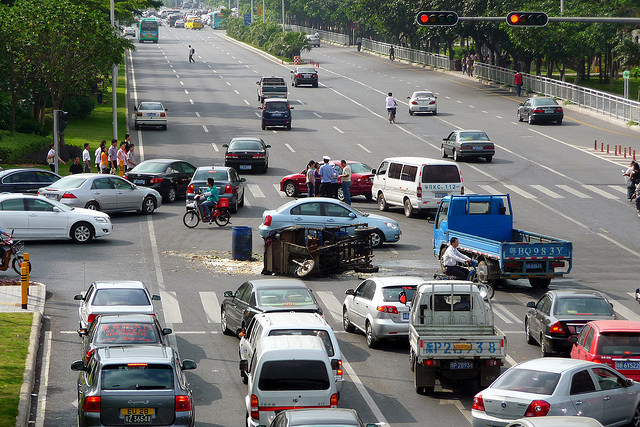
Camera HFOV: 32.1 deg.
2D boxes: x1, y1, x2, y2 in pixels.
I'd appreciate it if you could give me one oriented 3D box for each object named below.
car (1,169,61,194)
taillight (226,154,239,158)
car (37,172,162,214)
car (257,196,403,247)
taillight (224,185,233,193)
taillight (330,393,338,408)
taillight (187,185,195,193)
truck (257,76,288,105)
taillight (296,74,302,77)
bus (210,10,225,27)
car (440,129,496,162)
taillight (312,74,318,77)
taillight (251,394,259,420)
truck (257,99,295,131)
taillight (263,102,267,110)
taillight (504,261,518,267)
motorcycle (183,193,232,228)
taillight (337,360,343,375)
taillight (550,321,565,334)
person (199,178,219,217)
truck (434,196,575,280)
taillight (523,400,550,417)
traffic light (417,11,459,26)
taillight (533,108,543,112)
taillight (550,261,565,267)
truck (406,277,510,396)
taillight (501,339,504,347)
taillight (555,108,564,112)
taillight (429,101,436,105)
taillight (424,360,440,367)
[{"bbox_3d":[-13.780,-1.499,52.015,2.194,0.690,1.011,-4,9,-32],"label":"car"},{"bbox_3d":[-4.821,-3.117,60.788,0.684,0.191,0.165,0,13,-4],"label":"taillight"},{"bbox_3d":[-10.356,-0.898,51.321,4.713,1.488,2.141,-4,9,-41],"label":"car"},{"bbox_3d":[0.440,0.212,48.347,5.436,1.754,2.415,-1,5,-2],"label":"car"},{"bbox_3d":[-4.348,-1.138,52.405,0.384,0.340,0.327,0,13,-5],"label":"taillight"},{"bbox_3d":[0.379,5.465,32.600,0.199,0.414,0.383,3,13,5],"label":"taillight"},{"bbox_3d":[-6.121,-1.141,52.350,0.325,0.262,0.550,0,12,-7],"label":"taillight"},{"bbox_3d":[-3.716,-9.480,85.487,1.629,1.330,3.105,-1,15,-7],"label":"truck"},{"bbox_3d":[-1.882,-11.903,96.673,0.409,0.180,0.247,2,5,0],"label":"taillight"},{"bbox_3d":[-18.065,-34.108,195.523,1.785,1.971,4.463,-2,21,-7],"label":"bus"},{"bbox_3d":[8.375,-3.914,64.786,1.688,1.049,2.727,-3,18,-11],"label":"car"},{"bbox_3d":[-0.504,-11.930,96.861,0.327,0.228,0.504,0,2,-8],"label":"taillight"},{"bbox_3d":[-1.916,5.652,32.558,0.314,0.670,0.180,6,14,21],"label":"taillight"},{"bbox_3d":[-3.166,-6.819,75.749,2.387,1.924,4.259,1,11,-2],"label":"truck"},{"bbox_3d":[-3.676,-7.091,73.757,0.109,0.374,0.236,7,-1,-23],"label":"taillight"},{"bbox_3d":[7.245,1.911,42.113,0.508,0.224,0.063,-2,13,-12],"label":"taillight"},{"bbox_3d":[-5.244,-0.135,50.898,2.288,1.440,1.036,-3,0,-24],"label":"motorcycle"},{"bbox_3d":[0.580,4.691,34.105,0.225,0.193,0.380,1,36,-1],"label":"taillight"},{"bbox_3d":[7.933,3.800,37.058,0.491,0.213,0.292,0,5,-1],"label":"taillight"},{"bbox_3d":[-5.056,-0.790,50.851,0.824,1.823,1.220,5,13,16],"label":"person"},{"bbox_3d":[7.103,1.061,44.220,2.885,2.590,5.551,-4,14,-25],"label":"truck"},{"bbox_3d":[6.327,5.629,32.249,0.629,0.276,0.375,-2,12,2],"label":"taillight"},{"bbox_3d":[4.901,-8.067,46.292,1.701,0.559,0.843,3,13,7],"label":"traffic light"},{"bbox_3d":[15.019,-7.051,76.356,0.594,0.261,0.137,4,13,13],"label":"taillight"},{"bbox_3d":[9.083,1.942,42.323,0.318,0.286,0.493,14,18,43],"label":"taillight"},{"bbox_3d":[4.378,3.785,36.185,2.961,2.751,5.255,0,5,4],"label":"truck"},{"bbox_3d":[5.778,4.081,35.136,0.088,0.243,0.030,1,13,-1],"label":"taillight"},{"bbox_3d":[16.509,-7.050,76.615,0.413,0.177,0.246,1,36,-3],"label":"taillight"},{"bbox_3d":[8.212,-8.034,81.148,0.131,0.218,0.572,13,18,43],"label":"taillight"},{"bbox_3d":[3.519,4.684,35.002,0.284,0.087,0.280,1,22,4],"label":"taillight"}]
